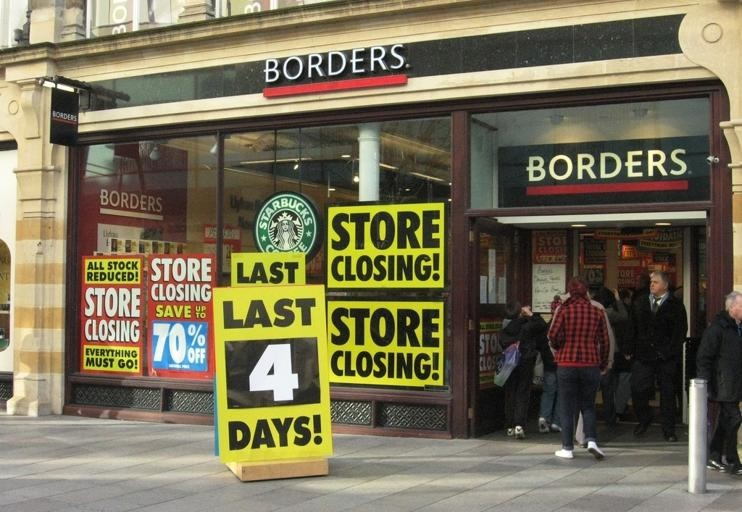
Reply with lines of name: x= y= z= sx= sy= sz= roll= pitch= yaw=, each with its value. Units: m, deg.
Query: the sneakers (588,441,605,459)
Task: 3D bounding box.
sneakers: x=3.164 y=2.725 z=14.511 sx=0.232 sy=0.244 sz=0.297 roll=1 pitch=6 yaw=11

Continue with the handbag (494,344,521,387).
handbag: x=2.105 y=1.690 z=16.004 sx=0.389 sy=0.677 sz=0.288 roll=0 pitch=6 yaw=6

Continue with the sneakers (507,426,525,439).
sneakers: x=2.234 y=2.704 z=15.833 sx=0.136 sy=0.133 sz=0.315 roll=1 pitch=1 yaw=17

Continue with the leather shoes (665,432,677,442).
leather shoes: x=4.462 y=2.704 z=15.355 sx=0.083 sy=0.093 sz=0.225 roll=-2 pitch=4 yaw=4

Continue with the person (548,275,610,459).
person: x=2.923 y=1.601 z=14.597 sx=0.823 sy=2.493 sz=0.614 roll=0 pitch=6 yaw=10

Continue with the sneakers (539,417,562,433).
sneakers: x=2.790 y=2.679 z=16.152 sx=0.170 sy=0.199 sz=0.463 roll=-4 pitch=-9 yaw=37

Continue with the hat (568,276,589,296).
hat: x=2.938 y=0.436 z=14.810 sx=0.268 sy=0.259 sz=0.243 roll=-3 pitch=4 yaw=-19
